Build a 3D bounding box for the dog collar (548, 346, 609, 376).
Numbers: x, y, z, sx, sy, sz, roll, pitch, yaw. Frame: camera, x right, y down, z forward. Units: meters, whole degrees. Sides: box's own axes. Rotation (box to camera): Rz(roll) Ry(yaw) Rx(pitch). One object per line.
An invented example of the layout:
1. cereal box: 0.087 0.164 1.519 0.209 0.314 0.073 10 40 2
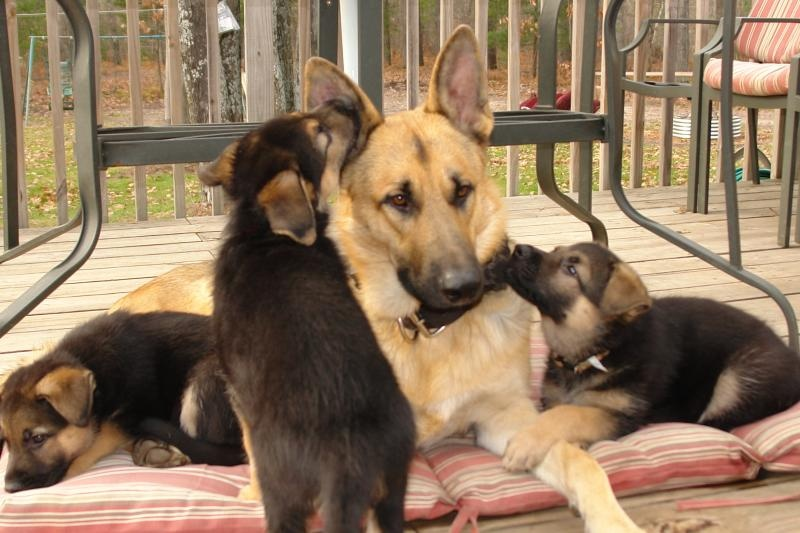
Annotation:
1. dog collar: 1.091 0.586 4.752 0.207 0.063 0.156 30 -35 -16
